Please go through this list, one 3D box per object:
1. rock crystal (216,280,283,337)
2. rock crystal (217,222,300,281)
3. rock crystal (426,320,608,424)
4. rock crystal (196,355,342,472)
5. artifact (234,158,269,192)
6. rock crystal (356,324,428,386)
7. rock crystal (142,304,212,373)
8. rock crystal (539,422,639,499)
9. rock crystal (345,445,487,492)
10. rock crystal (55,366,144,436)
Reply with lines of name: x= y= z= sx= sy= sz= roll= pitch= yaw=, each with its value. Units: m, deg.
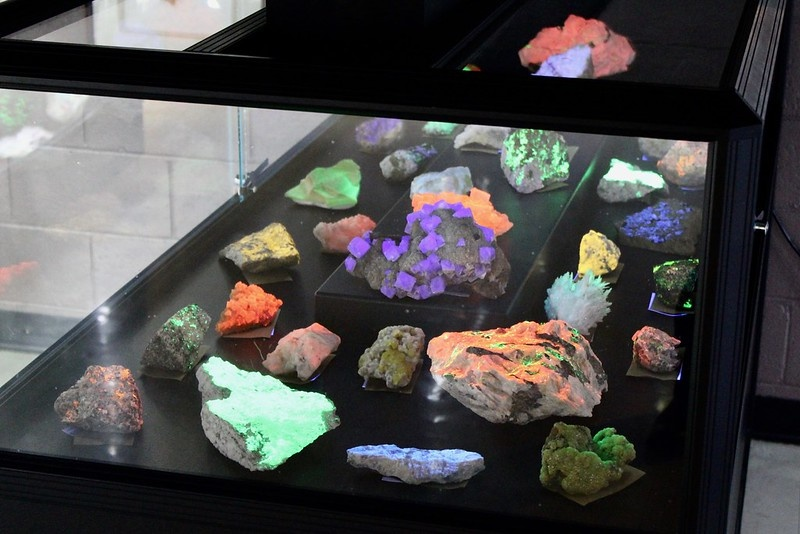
rock crystal: x=-0.406 y=0.111 z=1.891 sx=0.152 sy=0.055 sz=0.192 roll=17 pitch=28 yaw=18
rock crystal: x=-0.375 y=-0.041 z=2.063 sx=0.173 sy=0.068 sz=0.209 roll=36 pitch=44 yaw=25
rock crystal: x=0.279 y=0.221 z=1.708 sx=0.429 sy=0.158 sz=0.445 roll=-3 pitch=13 yaw=-6
rock crystal: x=-0.307 y=0.330 z=1.607 sx=0.227 sy=0.057 sz=0.241 roll=-9 pitch=7 yaw=-20
artifact: x=-0.424 y=-0.267 z=2.128 sx=0.066 sy=0.034 sz=0.105 roll=10 pitch=28 yaw=41
rock crystal: x=-0.025 y=0.208 z=1.753 sx=0.144 sy=0.087 sz=0.170 roll=7 pitch=27 yaw=13
rock crystal: x=-0.511 y=0.188 z=1.834 sx=0.136 sy=0.090 sz=0.241 roll=1 pitch=4 yaw=23
rock crystal: x=0.410 y=0.389 z=1.532 sx=0.178 sy=0.090 sz=0.166 roll=-11 pitch=20 yaw=-15
rock crystal: x=0.033 y=0.407 z=1.512 sx=0.204 sy=0.044 sz=0.108 roll=1 pitch=7 yaw=-3
rock crystal: x=-0.652 y=0.293 z=1.587 sx=0.141 sy=0.049 sz=0.150 roll=-11 pitch=53 yaw=-16
